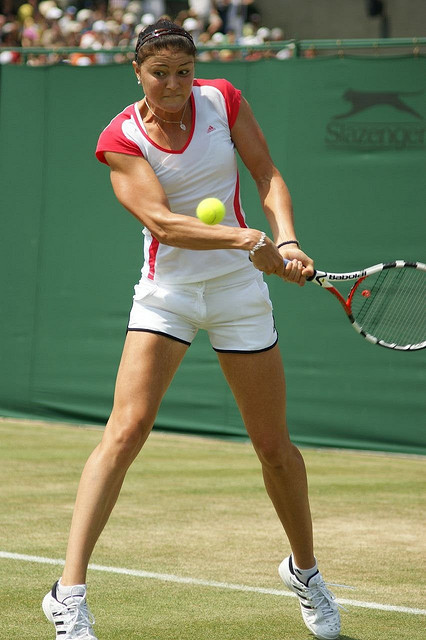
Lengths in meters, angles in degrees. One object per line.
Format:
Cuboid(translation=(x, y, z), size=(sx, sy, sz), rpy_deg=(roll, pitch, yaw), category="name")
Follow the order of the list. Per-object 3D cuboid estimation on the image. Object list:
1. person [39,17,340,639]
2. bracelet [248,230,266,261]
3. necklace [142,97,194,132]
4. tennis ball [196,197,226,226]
Cuboid(translation=(-0.019, 0.058, 1.820), size=(0.830, 1.731, 0.470), rpy_deg=(1, 2, -13), category="person")
Cuboid(translation=(0.104, -0.174, 1.626), size=(0.017, 0.051, 0.042), rpy_deg=(20, 10, -2), category="bracelet")
Cuboid(translation=(-0.130, -0.546, 1.791), size=(0.117, 0.092, 0.072), rpy_deg=(1, 2, 1), category="necklace")
Cuboid(translation=(-0.006, -0.276, 1.761), size=(0.075, 0.069, 0.077), rpy_deg=(3, -8, 0), category="tennis ball")
